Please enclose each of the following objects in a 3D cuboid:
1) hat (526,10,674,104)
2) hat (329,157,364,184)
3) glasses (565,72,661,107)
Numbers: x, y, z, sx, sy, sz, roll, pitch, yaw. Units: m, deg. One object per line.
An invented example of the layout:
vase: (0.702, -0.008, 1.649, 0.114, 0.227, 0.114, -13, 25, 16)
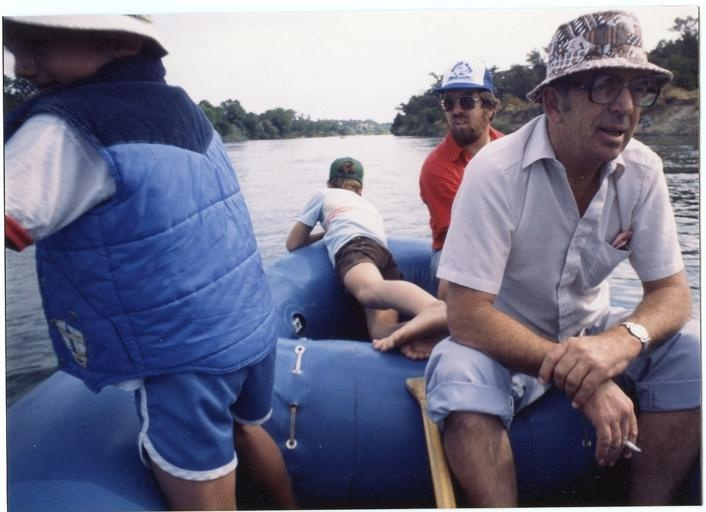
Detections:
hat: (0.800, -0.639, 1.895, 0.280, 0.149, 0.275, -6, 0, -4)
hat: (-0.016, -0.569, 3.725, 0.182, 0.145, 0.308, 5, 18, 0)
glasses: (0.860, -0.534, 1.870, 0.314, 0.109, 0.094, -7, 13, -13)
